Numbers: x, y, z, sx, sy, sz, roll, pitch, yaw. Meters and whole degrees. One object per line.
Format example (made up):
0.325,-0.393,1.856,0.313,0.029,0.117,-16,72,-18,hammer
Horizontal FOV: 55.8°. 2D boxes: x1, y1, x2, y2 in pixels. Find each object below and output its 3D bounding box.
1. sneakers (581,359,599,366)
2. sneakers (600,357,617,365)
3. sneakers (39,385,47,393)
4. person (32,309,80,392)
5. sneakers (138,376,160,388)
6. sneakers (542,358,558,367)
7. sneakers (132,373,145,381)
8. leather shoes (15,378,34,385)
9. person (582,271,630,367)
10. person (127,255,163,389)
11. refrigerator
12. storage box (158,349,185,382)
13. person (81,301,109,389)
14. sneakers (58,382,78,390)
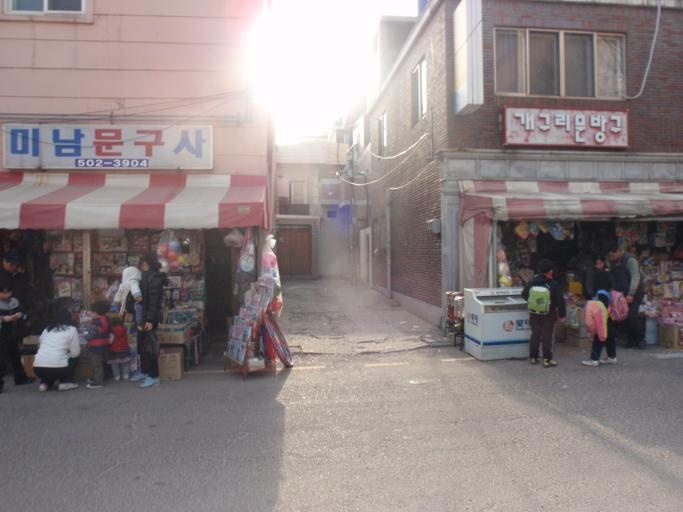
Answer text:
4.927,2.108,12.882,0.319,0.161,0.132,5,7,37,sneakers
5.342,2.103,13.007,0.354,0.168,0.137,2,5,23,sneakers
-5.562,2.454,12.024,0.147,0.128,0.092,-1,7,1,sneakers
-5.411,1.714,12.287,0.824,1.523,0.873,-4,8,-23,person
-3.637,2.384,12.241,0.159,0.184,0.393,-3,-4,38,sneakers
4.142,2.123,12.898,0.247,0.173,0.128,-8,7,-17,sneakers
-3.917,2.336,12.432,0.225,0.096,0.133,0,3,-22,sneakers
-6.103,2.425,12.438,0.327,0.153,0.115,-4,4,-7,leather shoes
5.325,1.283,13.106,0.770,1.734,1.132,2,8,25,person
-3.714,1.208,12.320,0.556,2.424,0.791,-1,7,-2,person
3.511,1.427,14.003,1.673,1.808,1.261,0,-3,-10,refrigerator
-3.311,2.121,12.591,0.464,0.514,0.502,-1,6,-8,storage box
-4.636,1.658,12.237,0.363,1.592,0.527,1,7,18,person
-5.132,2.439,12.165,0.356,0.186,0.134,-2,4,-21,sneakers
